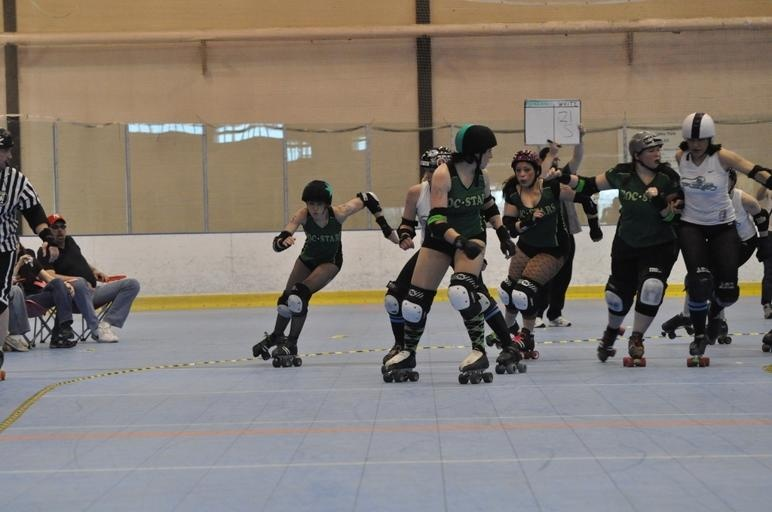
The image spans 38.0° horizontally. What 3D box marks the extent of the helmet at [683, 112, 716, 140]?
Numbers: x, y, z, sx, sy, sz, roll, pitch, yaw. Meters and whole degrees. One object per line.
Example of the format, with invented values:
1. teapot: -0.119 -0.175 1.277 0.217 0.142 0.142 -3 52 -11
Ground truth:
1. helmet: 3.403 -1.374 12.029 0.276 0.250 0.344 2 -7 21

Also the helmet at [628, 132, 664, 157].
1. helmet: 2.829 -1.192 12.095 0.348 0.249 0.253 4 9 33

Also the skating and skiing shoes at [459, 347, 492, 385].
1. skating and skiing shoes: 0.914 1.148 11.442 0.232 0.270 0.475 -6 -9 35

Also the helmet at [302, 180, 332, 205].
1. helmet: -0.776 -0.677 12.488 0.259 0.239 0.309 2 -16 4
